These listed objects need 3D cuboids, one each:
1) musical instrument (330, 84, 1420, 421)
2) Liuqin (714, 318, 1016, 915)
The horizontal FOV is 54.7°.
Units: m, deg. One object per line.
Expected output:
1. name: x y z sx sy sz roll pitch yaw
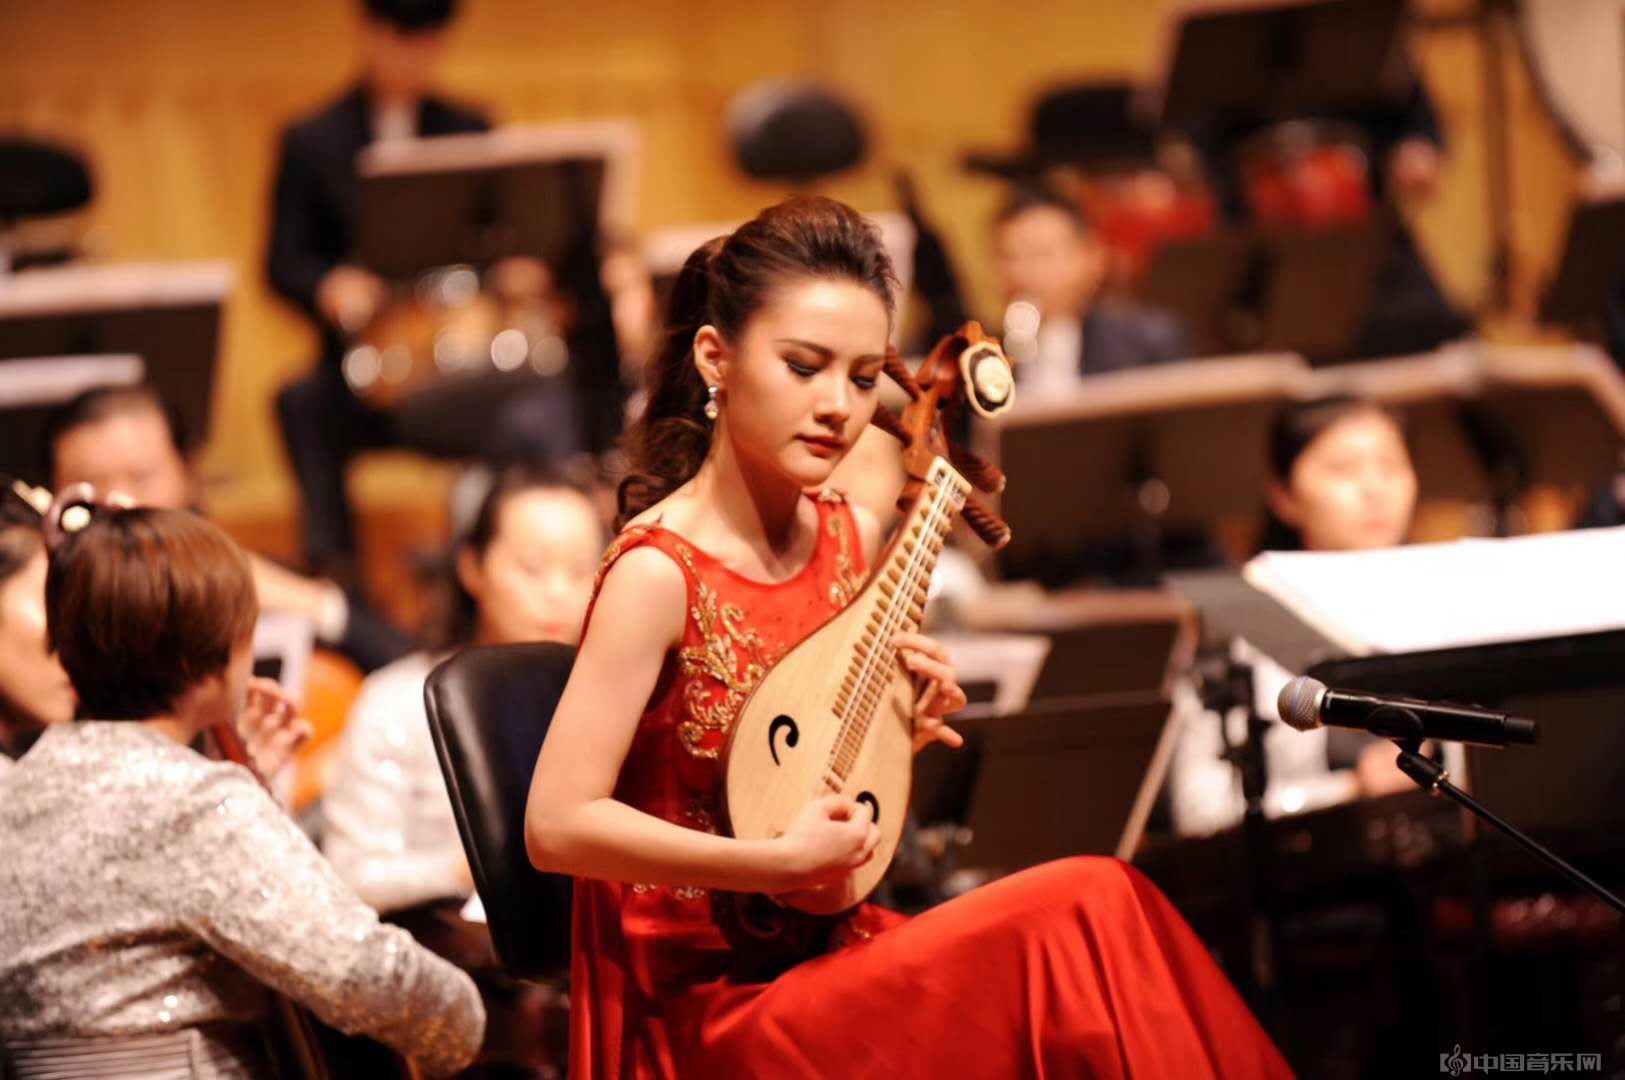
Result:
1. musical instrument: -0.079 -1.063 5.427 3.037 1.400 0.615 -2 -2 -14
2. Liuqin: 0.110 0.161 2.720 0.162 1.118 0.431 -6 -33 46
